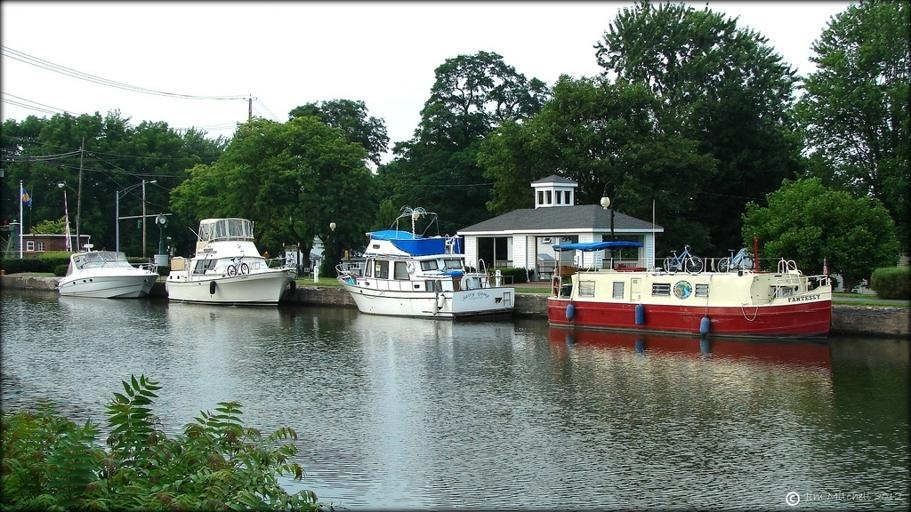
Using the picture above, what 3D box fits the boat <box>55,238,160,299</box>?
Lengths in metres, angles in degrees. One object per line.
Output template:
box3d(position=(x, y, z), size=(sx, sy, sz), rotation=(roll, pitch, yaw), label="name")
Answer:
box3d(position=(-28.633, 1.351, 81.243), size=(7.612, 4.426, 3.170), rotation=(0, -3, 19), label="boat")

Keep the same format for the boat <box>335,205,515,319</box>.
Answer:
box3d(position=(-1.991, 0.591, 66.165), size=(10.856, 7.326, 3.304), rotation=(-1, -3, 28), label="boat")

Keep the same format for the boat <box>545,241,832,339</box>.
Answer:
box3d(position=(14.658, 2.180, 64.868), size=(19.084, 5.415, 6.913), rotation=(0, -1, 4), label="boat")

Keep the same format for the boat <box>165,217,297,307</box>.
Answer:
box3d(position=(-16.448, 0.845, 75.743), size=(5.159, 5.068, 13.012), rotation=(0, -3, -44), label="boat")
